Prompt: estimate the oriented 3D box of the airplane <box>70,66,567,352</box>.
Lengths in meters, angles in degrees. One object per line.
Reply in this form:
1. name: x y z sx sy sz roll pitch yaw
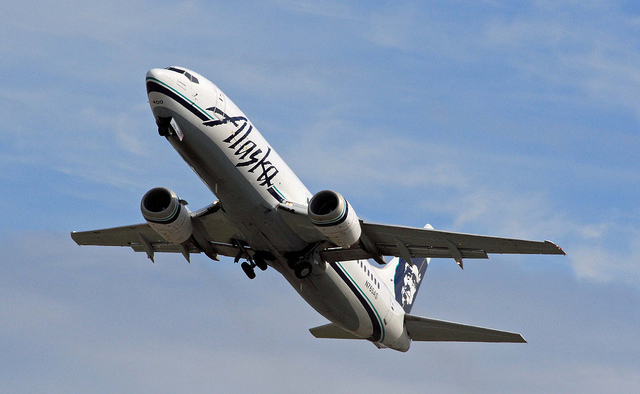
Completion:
1. airplane: -0.883 1.552 52.842 18.154 10.806 10.201 0 -27 -15
